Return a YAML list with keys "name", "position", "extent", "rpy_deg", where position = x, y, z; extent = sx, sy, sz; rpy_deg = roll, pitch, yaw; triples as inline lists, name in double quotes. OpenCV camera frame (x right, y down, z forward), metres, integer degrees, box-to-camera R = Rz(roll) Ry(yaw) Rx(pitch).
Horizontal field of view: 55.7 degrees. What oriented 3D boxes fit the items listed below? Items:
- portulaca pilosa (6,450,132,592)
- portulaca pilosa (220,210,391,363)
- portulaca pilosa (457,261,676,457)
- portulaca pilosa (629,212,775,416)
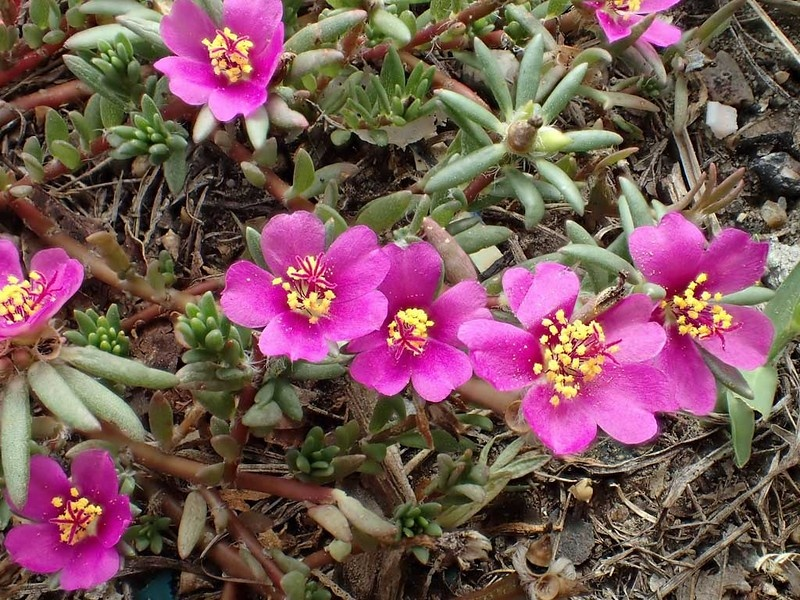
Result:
- name: "portulaca pilosa"
  position: [-1.021, 0.685, 2.431]
  extent: [0.403, 0.193, 0.459]
  rpy_deg: [-1, 86, 13]
- name: "portulaca pilosa"
  position: [-0.276, -0.033, 2.249]
  extent: [0.482, 0.151, 0.441]
  rpy_deg: [12, 68, -2]
- name: "portulaca pilosa"
  position: [0.519, 0.152, 2.215]
  extent: [0.266, 0.537, 0.597]
  rpy_deg: [-25, 115, -4]
- name: "portulaca pilosa"
  position: [0.824, 0.029, 2.416]
  extent: [0.527, 0.218, 0.575]
  rpy_deg: [21, 82, -30]
